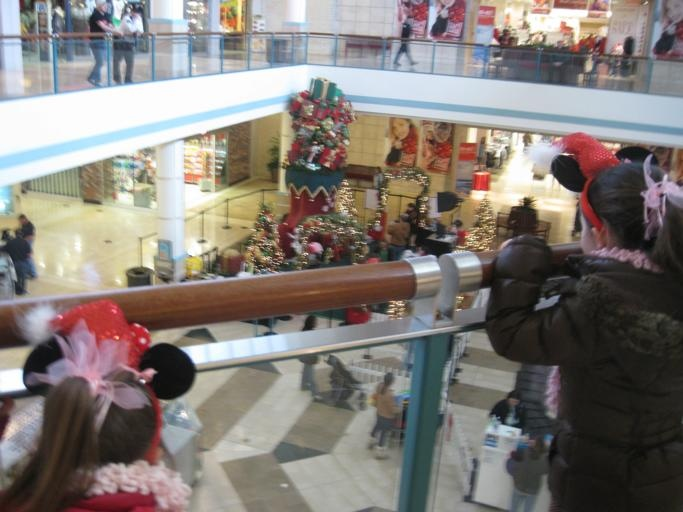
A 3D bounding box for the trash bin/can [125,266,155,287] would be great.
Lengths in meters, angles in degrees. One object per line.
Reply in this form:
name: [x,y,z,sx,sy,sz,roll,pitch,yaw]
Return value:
trash bin/can: [-2.856,0.301,8.347,0.260,0.258,0.261,23,31,33]
